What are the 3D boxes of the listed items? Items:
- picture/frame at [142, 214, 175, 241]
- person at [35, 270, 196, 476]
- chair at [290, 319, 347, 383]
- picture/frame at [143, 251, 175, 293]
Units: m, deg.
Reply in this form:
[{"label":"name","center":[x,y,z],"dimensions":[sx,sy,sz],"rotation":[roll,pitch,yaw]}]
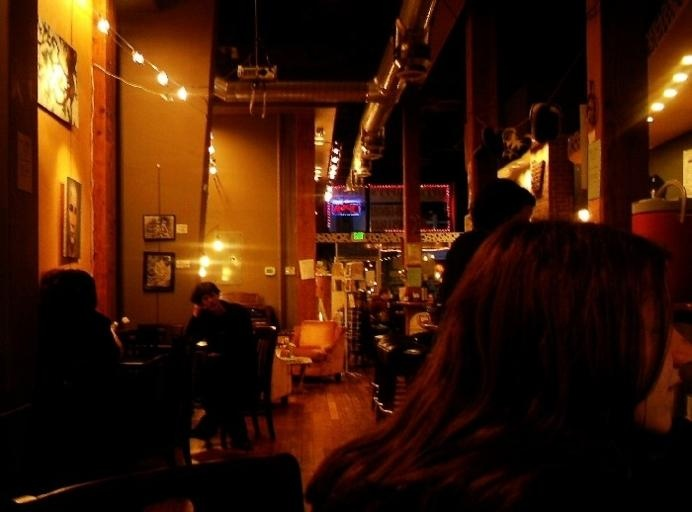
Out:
[{"label":"picture/frame","center":[-1.918,-0.289,6.391],"dimensions":[0.236,0.228,0.035],"rotation":[0,-3,-7]},{"label":"person","center":[-1.388,0.732,3.878],"dimensions":[0.482,0.960,1.388],"rotation":[-8,-1,2]},{"label":"chair","center":[-0.503,1.395,9.365],"dimensions":[0.933,0.925,1.029],"rotation":[2,-7,-4]},{"label":"picture/frame","center":[-1.894,0.143,6.379],"dimensions":[0.306,0.441,0.032],"rotation":[2,27,-17]}]
